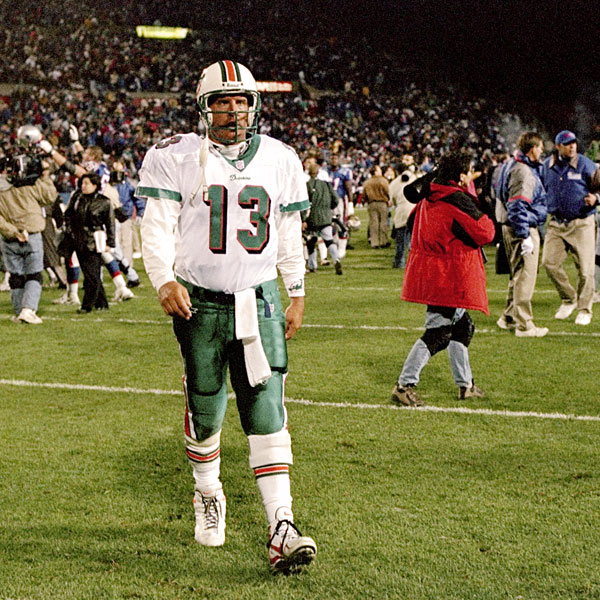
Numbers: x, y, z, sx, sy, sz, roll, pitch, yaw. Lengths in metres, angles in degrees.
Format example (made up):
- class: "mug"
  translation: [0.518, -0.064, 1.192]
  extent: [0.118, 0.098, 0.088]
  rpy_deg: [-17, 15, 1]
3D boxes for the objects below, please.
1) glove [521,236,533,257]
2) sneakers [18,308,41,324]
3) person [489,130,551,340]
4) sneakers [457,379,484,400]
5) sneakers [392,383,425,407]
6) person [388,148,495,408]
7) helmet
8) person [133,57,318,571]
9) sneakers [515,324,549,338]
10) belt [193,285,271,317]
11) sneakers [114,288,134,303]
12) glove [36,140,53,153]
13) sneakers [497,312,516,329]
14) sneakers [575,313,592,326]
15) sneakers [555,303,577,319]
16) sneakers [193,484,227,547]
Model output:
- class: "glove"
  translation: [2.124, -0.506, 7.249]
  extent: [0.043, 0.172, 0.115]
  rpy_deg: [-4, -2, 14]
- class: "sneakers"
  translation: [-3.025, 0.170, 8.644]
  extent: [0.118, 0.169, 0.323]
  rpy_deg: [3, -1, 24]
- class: "person"
  translation: [2.107, -0.610, 7.425]
  extent: [0.542, 1.974, 0.790]
  rpy_deg: [2, 7, 18]
- class: "sneakers"
  translation: [1.183, 0.630, 5.435]
  extent: [0.220, 0.157, 0.077]
  rpy_deg: [-3, 6, -40]
- class: "sneakers"
  translation: [0.725, 0.652, 5.300]
  extent: [0.260, 0.213, 0.094]
  rpy_deg: [1, 3, 4]
- class: "person"
  translation: [0.962, -0.139, 5.235]
  extent: [0.656, 1.693, 0.502]
  rpy_deg: [0, 6, 7]
- class: "helmet"
  translation: [-0.279, -0.779, 3.040]
  extent: [0.234, 0.309, 0.320]
  rpy_deg: [-3, 20, -12]
- class: "person"
  translation: [-0.290, 0.039, 3.024]
  extent: [0.656, 1.939, 0.615]
  rpy_deg: [0, 6, 0]
- class: "sneakers"
  translation: [2.312, 0.313, 7.705]
  extent: [0.335, 0.182, 0.135]
  rpy_deg: [-3, 17, -2]
- class: "belt"
  translation: [-0.261, -0.004, 2.999]
  extent: [0.188, 0.101, 0.155]
  rpy_deg: [-4, -2, 20]
- class: "sneakers"
  translation: [-2.384, -0.070, 10.447]
  extent: [0.123, 0.183, 0.359]
  rpy_deg: [0, 5, -11]
- class: "glove"
  translation: [-2.834, -1.727, 8.713]
  extent: [0.150, 0.135, 0.293]
  rpy_deg: [1, 8, 11]
- class: "sneakers"
  translation: [2.137, 0.225, 8.016]
  extent: [0.094, 0.150, 0.139]
  rpy_deg: [-1, 3, -21]
- class: "sneakers"
  translation: [3.045, 0.190, 8.368]
  extent: [0.162, 0.125, 0.249]
  rpy_deg: [2, 8, 19]
- class: "sneakers"
  translation: [3.013, 0.110, 8.779]
  extent: [0.387, 0.173, 0.136]
  rpy_deg: [-6, 9, -37]
- class: "sneakers"
  translation: [-0.372, 0.896, 3.179]
  extent: [0.083, 0.286, 0.127]
  rpy_deg: [-3, -33, -7]
